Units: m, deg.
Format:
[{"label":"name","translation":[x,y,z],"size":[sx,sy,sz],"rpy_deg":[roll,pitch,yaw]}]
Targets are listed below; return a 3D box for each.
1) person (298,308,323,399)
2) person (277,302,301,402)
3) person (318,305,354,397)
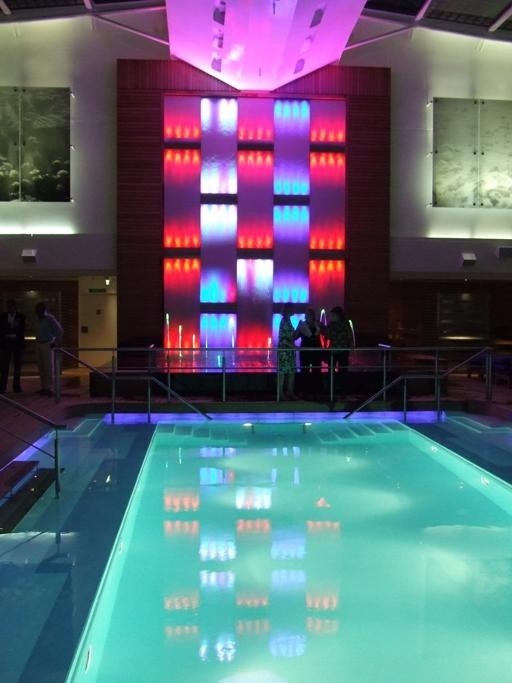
[{"label":"person","translation":[0.758,0.182,8.685],"size":[0.360,1.259,0.799],"rpy_deg":[2,4,6]},{"label":"person","translation":[0.442,0.181,8.512],"size":[0.271,1.293,0.799],"rpy_deg":[2,4,3]},{"label":"person","translation":[1.153,0.172,8.832],"size":[0.438,1.297,1.742],"rpy_deg":[2,4,8]}]
